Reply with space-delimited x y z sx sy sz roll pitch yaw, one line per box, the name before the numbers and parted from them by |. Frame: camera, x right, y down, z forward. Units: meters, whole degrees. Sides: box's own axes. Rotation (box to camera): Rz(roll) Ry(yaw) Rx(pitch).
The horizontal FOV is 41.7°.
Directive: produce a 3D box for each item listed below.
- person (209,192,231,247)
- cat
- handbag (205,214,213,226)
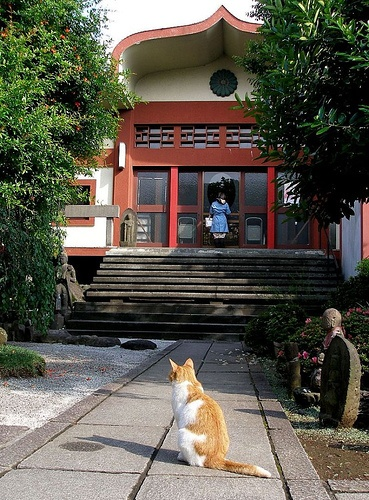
person | 1.135 -0.947 15.765 0.618 1.776 0.472 0 -2 1
cat | 0.127 0.896 2.562 0.322 0.502 0.702 1 -2 -21
handbag | 0.838 -0.953 16.617 0.340 0.396 0.331 -3 -15 12
